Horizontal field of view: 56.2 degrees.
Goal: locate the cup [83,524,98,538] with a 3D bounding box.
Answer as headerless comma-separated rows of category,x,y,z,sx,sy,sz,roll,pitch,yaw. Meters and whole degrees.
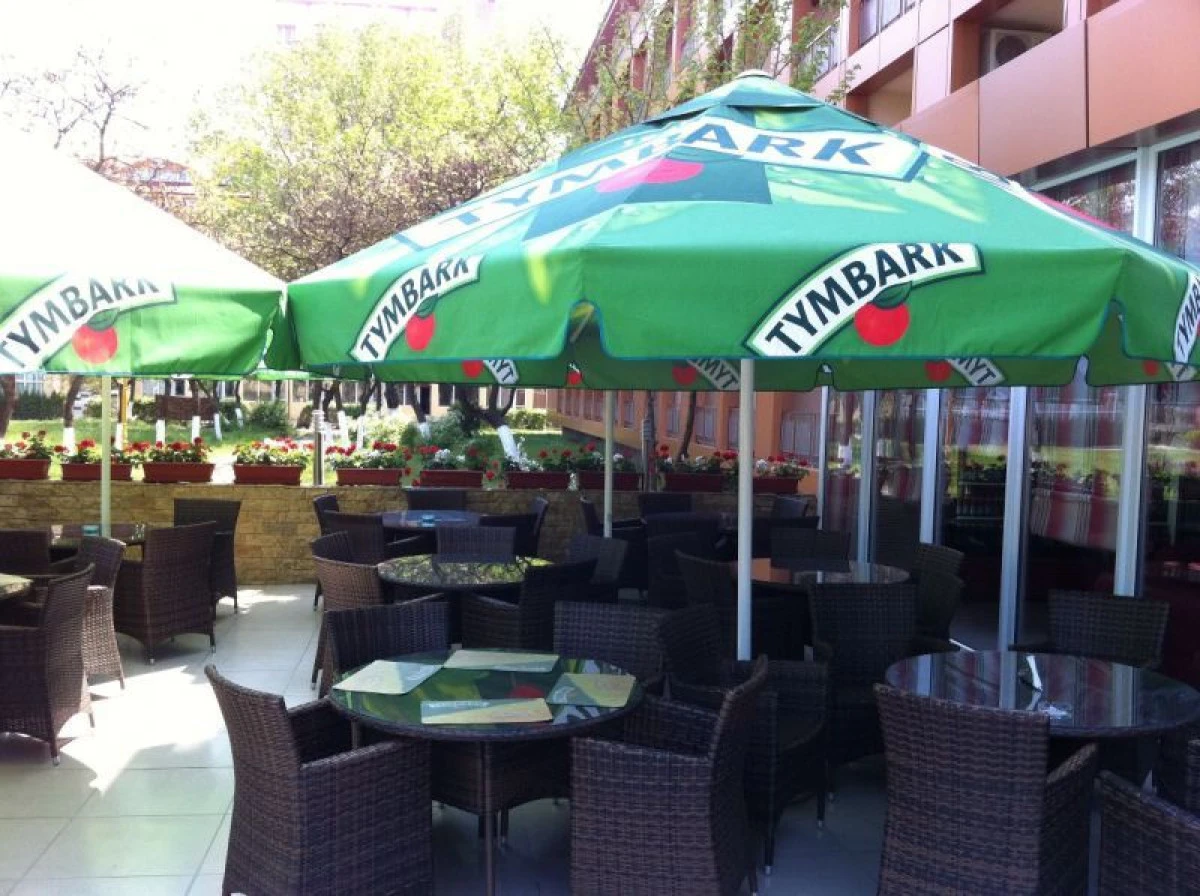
cup,-4.030,0.662,8.870,0.137,0.124,0.133,3,-3,0

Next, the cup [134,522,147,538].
cup,-3.759,0.682,9.141,0.103,0.105,0.102,0,-8,0

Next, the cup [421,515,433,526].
cup,-1.518,0.640,9.763,0.082,0.105,0.084,2,-4,0
